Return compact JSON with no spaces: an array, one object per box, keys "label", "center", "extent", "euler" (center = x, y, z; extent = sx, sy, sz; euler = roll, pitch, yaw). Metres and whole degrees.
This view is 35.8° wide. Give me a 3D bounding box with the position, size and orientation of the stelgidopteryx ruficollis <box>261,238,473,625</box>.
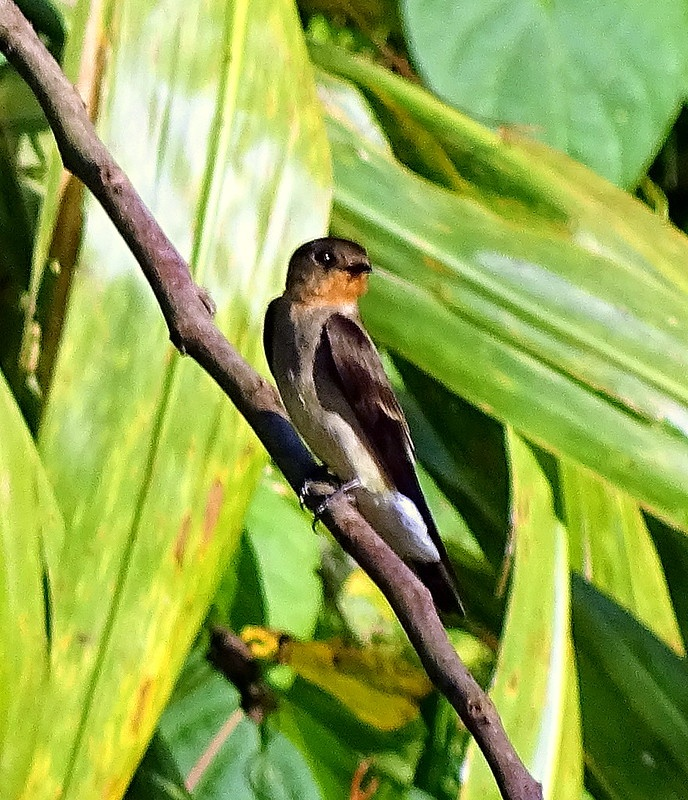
[{"label":"stelgidopteryx ruficollis","center":[0.057,0.034,1.626],"extent":[0.363,0.489,0.175],"euler":[15,-1,-25]}]
